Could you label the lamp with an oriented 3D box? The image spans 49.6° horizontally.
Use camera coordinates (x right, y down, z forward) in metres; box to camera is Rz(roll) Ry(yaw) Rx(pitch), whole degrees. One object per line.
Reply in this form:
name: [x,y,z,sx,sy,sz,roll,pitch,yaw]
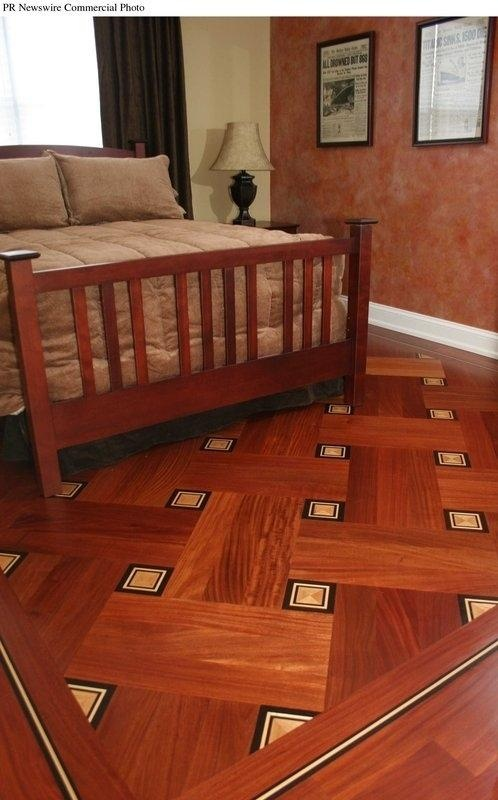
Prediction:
lamp: [-0.052,-1.592,3.785,0.539,0.642,0.560,-8,24,-16]
